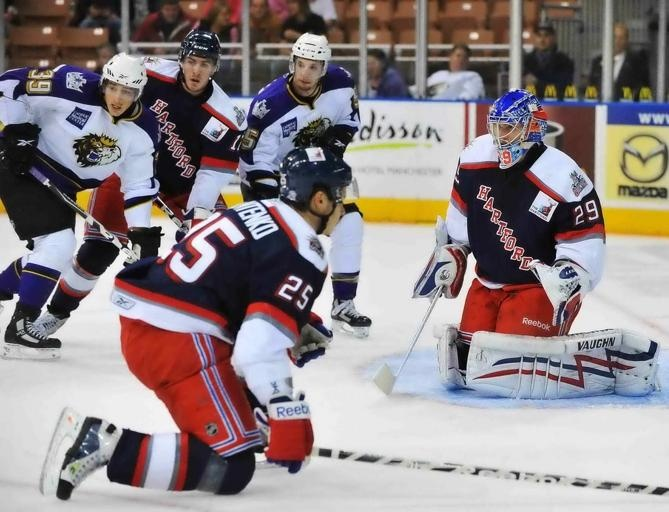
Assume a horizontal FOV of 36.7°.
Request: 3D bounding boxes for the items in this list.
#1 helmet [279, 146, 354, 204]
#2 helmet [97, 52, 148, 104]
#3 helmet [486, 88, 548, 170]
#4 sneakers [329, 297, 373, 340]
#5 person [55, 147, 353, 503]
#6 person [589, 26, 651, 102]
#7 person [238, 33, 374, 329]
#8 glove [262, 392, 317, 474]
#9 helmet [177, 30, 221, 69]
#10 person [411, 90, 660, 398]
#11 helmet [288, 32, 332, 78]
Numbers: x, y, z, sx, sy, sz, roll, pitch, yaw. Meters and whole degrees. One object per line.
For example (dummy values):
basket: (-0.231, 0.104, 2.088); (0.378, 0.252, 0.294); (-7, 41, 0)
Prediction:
helmet: (-0.072, -0.293, 3.577); (0.275, 0.187, 0.207); (-6, 14, -23)
helmet: (-0.979, -0.834, 4.690); (0.174, 0.189, 0.197); (11, 23, -25)
helmet: (0.823, -0.578, 4.557); (0.297, 0.322, 0.247); (-14, 12, -41)
sneakers: (0.076, 0.337, 5.573); (0.255, 0.214, 0.088); (7, 6, 33)
person: (-0.410, 0.247, 3.596); (0.777, 1.186, 1.272); (9, 11, 33)
person: (2.362, -1.447, 8.552); (0.487, 0.905, 0.330); (5, 5, 11)
person: (-0.194, -0.382, 5.604); (0.805, 1.657, 1.018); (1, 6, 17)
glove: (-0.160, 0.609, 3.419); (0.159, 0.313, 0.157); (-1, 13, -5)
helmet: (-0.704, -1.062, 5.221); (0.160, 0.197, 0.197); (6, 3, -6)
person: (0.963, -0.019, 4.660); (0.885, 1.317, 1.070); (-7, 8, -38)
helmet: (-0.141, -1.079, 5.444); (0.209, 0.228, 0.276); (-1, 13, -4)
